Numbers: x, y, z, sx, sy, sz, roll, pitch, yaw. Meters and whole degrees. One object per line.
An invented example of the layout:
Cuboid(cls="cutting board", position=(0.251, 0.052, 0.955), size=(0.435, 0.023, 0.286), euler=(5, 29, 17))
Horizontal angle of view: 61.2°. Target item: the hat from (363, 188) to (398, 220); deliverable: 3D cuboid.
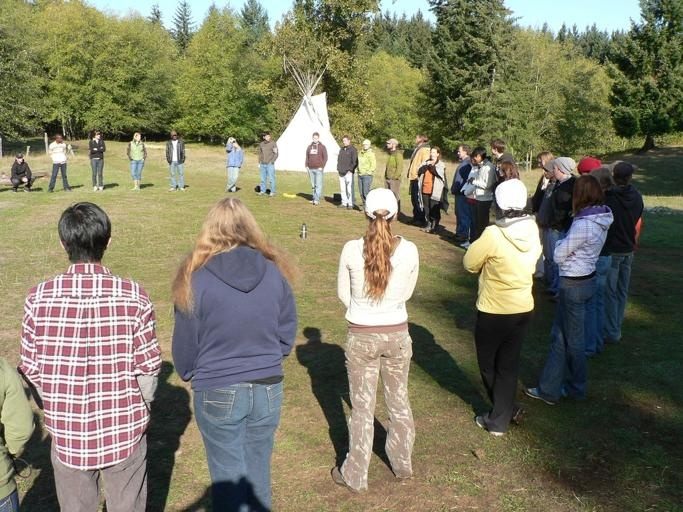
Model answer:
Cuboid(cls="hat", position=(0.378, -0.504, 5.454), size=(0.314, 0.262, 0.503), euler=(3, 28, 0))

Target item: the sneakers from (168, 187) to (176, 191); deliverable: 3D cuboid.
Cuboid(cls="sneakers", position=(-5.929, -2.378, 20.280), size=(0.126, 0.159, 0.341), euler=(0, -2, 9))

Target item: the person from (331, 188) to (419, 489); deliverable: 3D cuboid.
Cuboid(cls="person", position=(0.331, 0.788, 5.416), size=(0.804, 2.767, 0.615), euler=(1, 14, -1))

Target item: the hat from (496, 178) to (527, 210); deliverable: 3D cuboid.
Cuboid(cls="hat", position=(1.795, -0.668, 6.169), size=(0.253, 0.299, 0.352), euler=(2, 19, 1))

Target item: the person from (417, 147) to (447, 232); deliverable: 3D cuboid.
Cuboid(cls="person", position=(2.348, -1.714, 14.803), size=(0.661, 2.232, 0.977), euler=(-4, 15, -18))

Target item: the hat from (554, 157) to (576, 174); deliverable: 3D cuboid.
Cuboid(cls="hat", position=(3.628, -1.485, 9.406), size=(0.330, 0.284, 0.515), euler=(7, 17, 20))

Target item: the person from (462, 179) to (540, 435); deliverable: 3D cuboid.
Cuboid(cls="person", position=(1.689, 0.547, 6.181), size=(0.771, 2.672, 0.577), euler=(2, 14, 5))

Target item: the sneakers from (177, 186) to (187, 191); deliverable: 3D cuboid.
Cuboid(cls="sneakers", position=(-5.671, -2.414, 20.495), size=(0.205, 0.120, 0.296), euler=(-3, 6, -30))

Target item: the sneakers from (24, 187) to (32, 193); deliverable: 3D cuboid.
Cuboid(cls="sneakers", position=(-10.640, -2.271, 19.536), size=(0.182, 0.235, 0.531), euler=(-5, 4, -38))

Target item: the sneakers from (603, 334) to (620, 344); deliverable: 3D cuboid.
Cuboid(cls="sneakers", position=(3.874, 1.178, 8.322), size=(0.228, 0.121, 0.099), euler=(5, -2, 0))

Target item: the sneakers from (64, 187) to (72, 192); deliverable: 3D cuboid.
Cuboid(cls="sneakers", position=(-9.274, -2.283, 19.535), size=(0.268, 0.120, 0.102), euler=(6, 11, 44))

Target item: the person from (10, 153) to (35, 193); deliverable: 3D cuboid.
Cuboid(cls="person", position=(-10.597, -2.750, 19.058), size=(0.475, 1.260, 0.878), euler=(-2, 15, -11))

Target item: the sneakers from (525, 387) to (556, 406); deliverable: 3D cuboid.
Cuboid(cls="sneakers", position=(2.339, 1.646, 6.852), size=(0.125, 0.167, 0.348), euler=(0, 24, -41))

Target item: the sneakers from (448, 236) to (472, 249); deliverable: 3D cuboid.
Cuboid(cls="sneakers", position=(2.757, -0.328, 13.430), size=(0.310, 0.219, 0.107), euler=(35, 2, -5))

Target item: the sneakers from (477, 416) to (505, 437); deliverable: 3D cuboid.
Cuboid(cls="sneakers", position=(1.621, 1.827, 6.343), size=(0.126, 0.164, 0.329), euler=(-2, 7, -27))

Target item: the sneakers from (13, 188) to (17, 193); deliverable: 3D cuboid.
Cuboid(cls="sneakers", position=(-10.793, -2.183, 19.061), size=(0.102, 0.194, 0.186), euler=(1, -7, -10))

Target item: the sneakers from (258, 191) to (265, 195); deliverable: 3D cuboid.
Cuboid(cls="sneakers", position=(-2.804, -2.227, 20.254), size=(0.164, 0.141, 0.311), euler=(-1, -6, -5))
